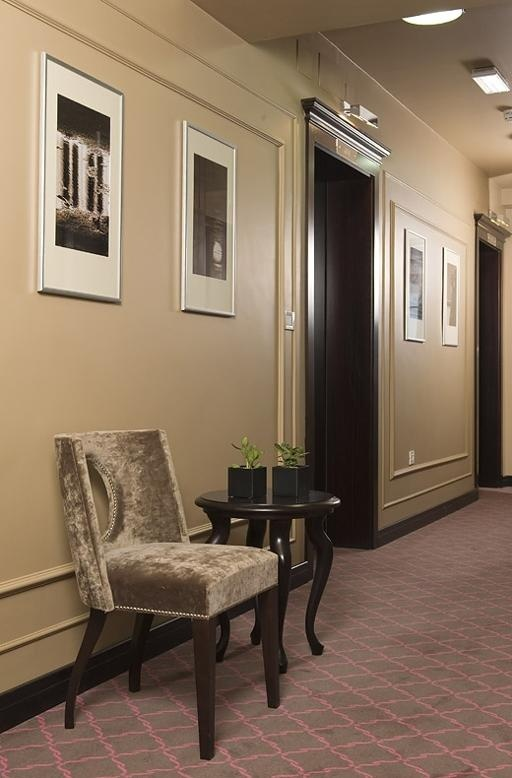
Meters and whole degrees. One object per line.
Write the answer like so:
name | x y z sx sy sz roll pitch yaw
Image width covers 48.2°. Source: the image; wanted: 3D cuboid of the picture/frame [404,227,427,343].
picture/frame | 1.554 -0.982 5.581 0.044 1.136 0.561 10 21 38

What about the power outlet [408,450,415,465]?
power outlet | 1.494 0.647 5.482 0.014 0.156 0.140 -2 -1 26

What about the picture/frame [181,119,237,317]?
picture/frame | -0.216 -0.841 2.837 0.023 0.788 0.522 -12 28 -29

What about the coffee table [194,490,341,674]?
coffee table | 0.075 0.610 2.303 0.583 0.739 0.611 -5 -5 38
